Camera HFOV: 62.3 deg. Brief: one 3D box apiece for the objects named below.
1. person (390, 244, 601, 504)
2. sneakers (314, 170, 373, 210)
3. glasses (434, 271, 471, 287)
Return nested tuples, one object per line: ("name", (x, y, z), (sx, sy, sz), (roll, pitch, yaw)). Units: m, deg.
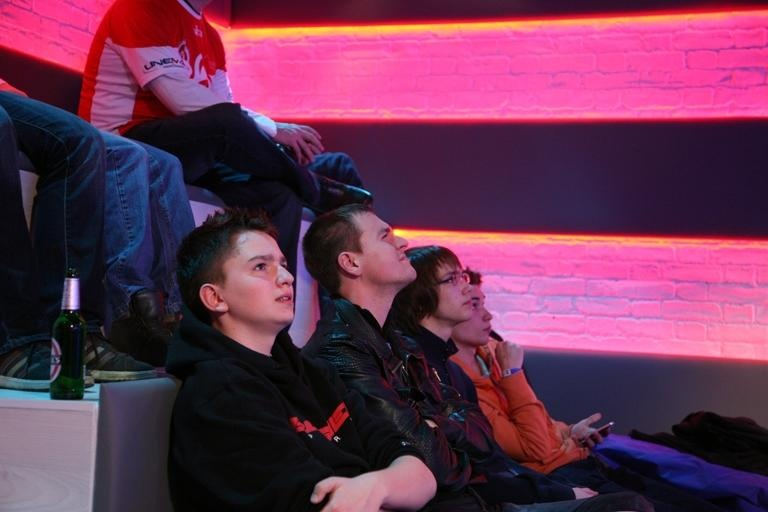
("person", (0.281, 0.515, 2.771), (0.943, 1.079, 0.705), (-8, -8, 4))
("sneakers", (-0.215, -0.308, 3.211), (0.394, 0.117, 0.139), (13, 12, -46))
("glasses", (0.307, 0.094, 2.765), (0.097, 0.028, 0.094), (-11, -11, 26))
